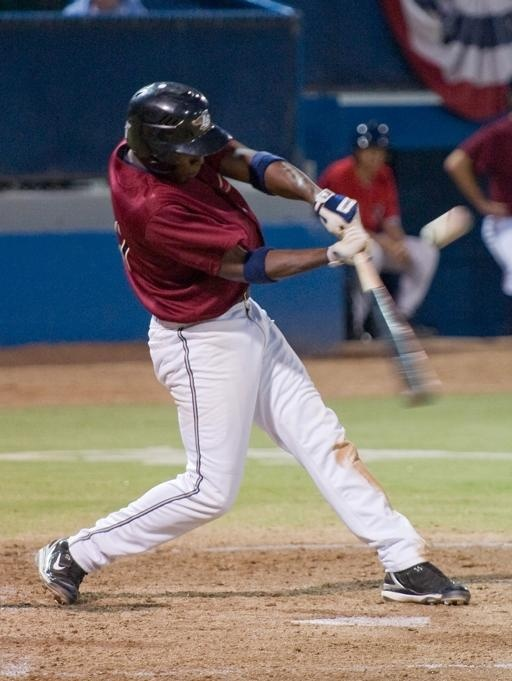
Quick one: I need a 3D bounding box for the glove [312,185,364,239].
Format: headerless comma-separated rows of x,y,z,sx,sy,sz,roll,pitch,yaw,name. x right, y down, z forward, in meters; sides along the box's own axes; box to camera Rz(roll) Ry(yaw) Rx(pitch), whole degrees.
0.202,-0.337,2.619,0.152,0.060,0.104,27,72,33,glove

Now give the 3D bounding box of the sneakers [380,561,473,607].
0.445,0.646,2.666,0.244,0.081,0.110,-1,-5,12,sneakers

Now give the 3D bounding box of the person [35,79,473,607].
-0.035,0.033,2.711,1.064,1.400,0.477,3,19,3,person

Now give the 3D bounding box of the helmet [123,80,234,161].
-0.204,-0.549,2.508,0.297,0.125,0.172,8,42,15,helmet

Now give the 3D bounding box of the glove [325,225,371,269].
0.234,-0.241,2.546,0.116,0.057,0.090,-45,17,-18,glove
